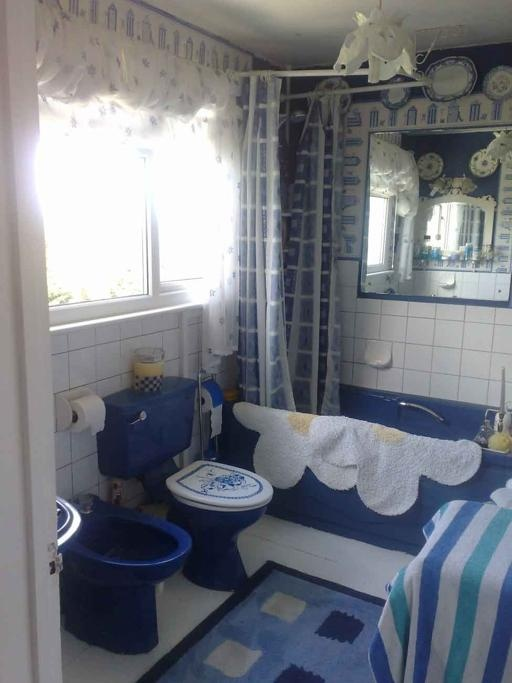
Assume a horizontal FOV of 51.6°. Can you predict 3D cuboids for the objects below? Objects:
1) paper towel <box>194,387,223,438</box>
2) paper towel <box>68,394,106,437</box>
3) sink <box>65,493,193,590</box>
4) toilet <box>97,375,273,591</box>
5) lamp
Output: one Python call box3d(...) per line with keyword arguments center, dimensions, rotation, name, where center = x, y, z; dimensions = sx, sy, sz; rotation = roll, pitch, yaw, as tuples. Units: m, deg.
box3d(center=(-0.244, 0.350, 2.834), dimensions=(0.112, 0.297, 0.115), rotation=(15, 29, 36), name="paper towel")
box3d(center=(-0.632, 0.259, 2.073), dimensions=(0.121, 0.164, 0.164), rotation=(13, 7, 19), name="paper towel")
box3d(center=(-0.481, 0.771, 1.985), dimensions=(0.506, 0.203, 0.311), rotation=(12, 20, 36), name="sink")
box3d(center=(-0.280, 0.623, 2.363), dimensions=(0.665, 0.832, 0.482), rotation=(6, 13, 29), name="toilet")
box3d(center=(0.382, -0.972, 1.666), dimensions=(0.255, 0.261, 0.239), rotation=(2, 9, 10), name="lamp")
